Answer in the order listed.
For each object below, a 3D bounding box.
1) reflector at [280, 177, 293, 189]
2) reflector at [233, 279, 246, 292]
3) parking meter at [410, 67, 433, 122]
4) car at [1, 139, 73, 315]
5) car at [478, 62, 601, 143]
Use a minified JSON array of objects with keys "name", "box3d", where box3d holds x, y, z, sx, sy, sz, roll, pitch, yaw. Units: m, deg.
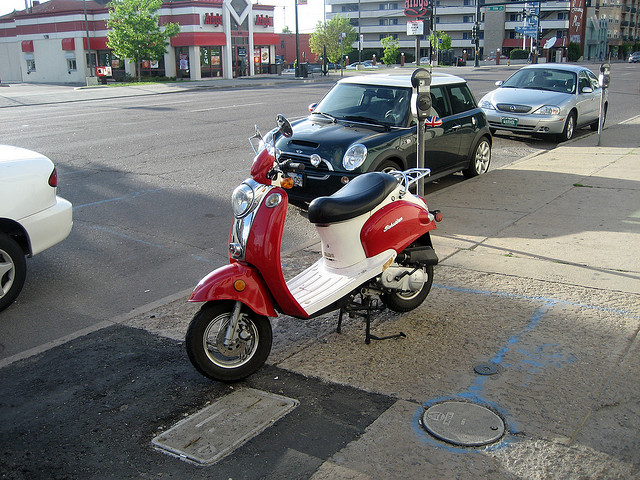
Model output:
[{"name":"reflector","box3d":[-0.272,-0.458,4.355,0.101,0.090,0.096,-2,33,-2]},{"name":"reflector","box3d":[-0.627,0.343,4.057,0.041,0.088,0.098,13,24,41]},{"name":"parking meter","box3d":[1.287,-1.789,6.549,0.231,0.642,0.422,-1,18,10]},{"name":"car","box3d":[-3.319,-0.181,5.954,0.867,1.610,1.124,-11,19,-22]},{"name":"car","box3d":[6.587,-3.936,15.132,3.362,2.071,2.247,-16,21,-36]}]
